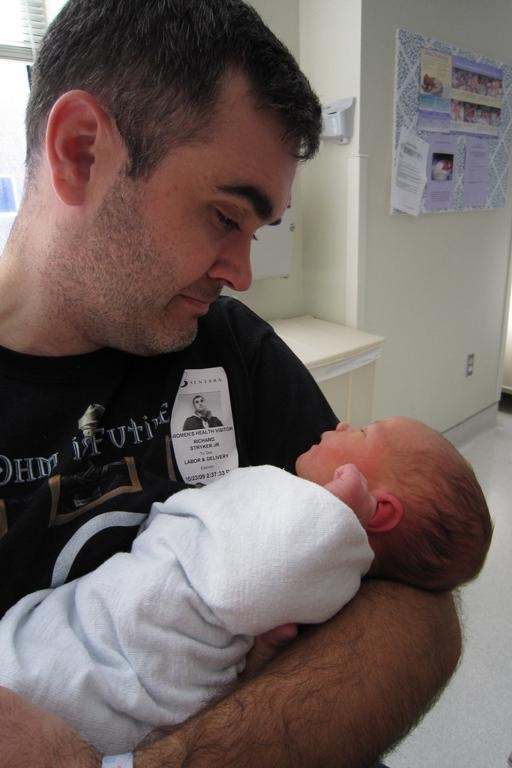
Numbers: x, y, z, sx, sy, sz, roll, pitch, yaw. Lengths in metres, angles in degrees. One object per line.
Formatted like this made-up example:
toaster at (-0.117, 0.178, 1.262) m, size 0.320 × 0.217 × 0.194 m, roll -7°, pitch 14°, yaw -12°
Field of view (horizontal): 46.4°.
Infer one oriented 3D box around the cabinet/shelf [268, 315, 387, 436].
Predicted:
cabinet/shelf at (0.242, -0.109, 2.184) m, size 0.363 × 0.445 × 0.448 m, roll -4°, pitch 30°, yaw -21°
